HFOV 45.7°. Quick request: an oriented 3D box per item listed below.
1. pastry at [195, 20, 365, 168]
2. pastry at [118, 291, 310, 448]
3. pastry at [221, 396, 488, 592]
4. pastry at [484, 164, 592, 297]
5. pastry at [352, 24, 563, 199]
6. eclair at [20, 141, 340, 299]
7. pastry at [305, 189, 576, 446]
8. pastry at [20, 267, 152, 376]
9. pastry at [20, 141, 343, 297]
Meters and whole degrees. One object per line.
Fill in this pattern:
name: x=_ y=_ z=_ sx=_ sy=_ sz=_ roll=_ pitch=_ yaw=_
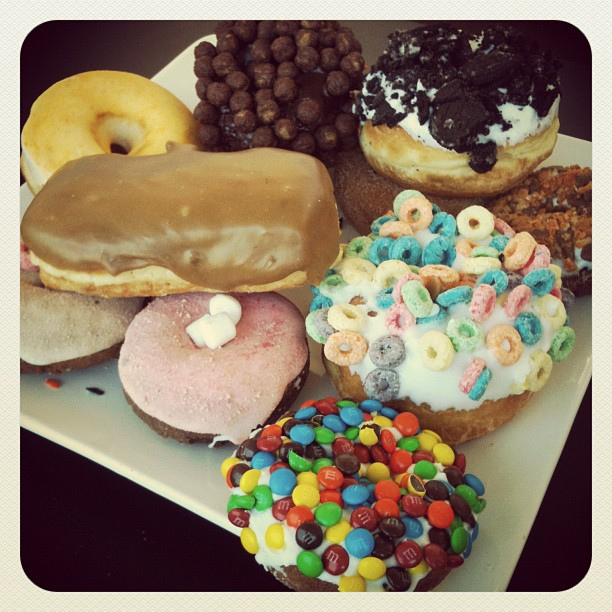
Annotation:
pastry: x=-0.053 y=-0.639 z=2.245 sx=0.740 sy=0.423 sz=0.277 roll=-7 pitch=35 yaw=5
pastry: x=-0.236 y=0.115 z=2.068 sx=0.564 sy=0.214 sz=0.508 roll=-32 pitch=60 yaw=5
pastry: x=0.114 y=0.462 z=1.747 sx=0.695 sy=0.294 sz=0.476 roll=-7 pitch=32 yaw=-16
pastry: x=0.774 y=-0.274 z=2.227 sx=0.546 sy=0.130 sz=0.329 roll=9 pitch=71 yaw=11
pastry: x=0.461 y=-0.590 z=2.191 sx=0.553 sy=0.434 sz=0.492 roll=30 pitch=64 yaw=19
eclair: x=-0.321 y=-0.221 z=1.924 sx=0.831 sy=0.211 sz=0.350 roll=-2 pitch=69 yaw=-2
pastry: x=0.359 y=0.091 z=2.010 sx=0.859 sy=0.286 sz=0.671 roll=1 pitch=52 yaw=3
pastry: x=-0.637 y=0.036 z=2.058 sx=0.329 sy=0.191 sz=0.313 roll=-13 pitch=32 yaw=-15
pastry: x=-0.323 y=-0.227 z=1.922 sx=0.813 sy=0.207 sz=0.354 roll=-2 pitch=69 yaw=-2
